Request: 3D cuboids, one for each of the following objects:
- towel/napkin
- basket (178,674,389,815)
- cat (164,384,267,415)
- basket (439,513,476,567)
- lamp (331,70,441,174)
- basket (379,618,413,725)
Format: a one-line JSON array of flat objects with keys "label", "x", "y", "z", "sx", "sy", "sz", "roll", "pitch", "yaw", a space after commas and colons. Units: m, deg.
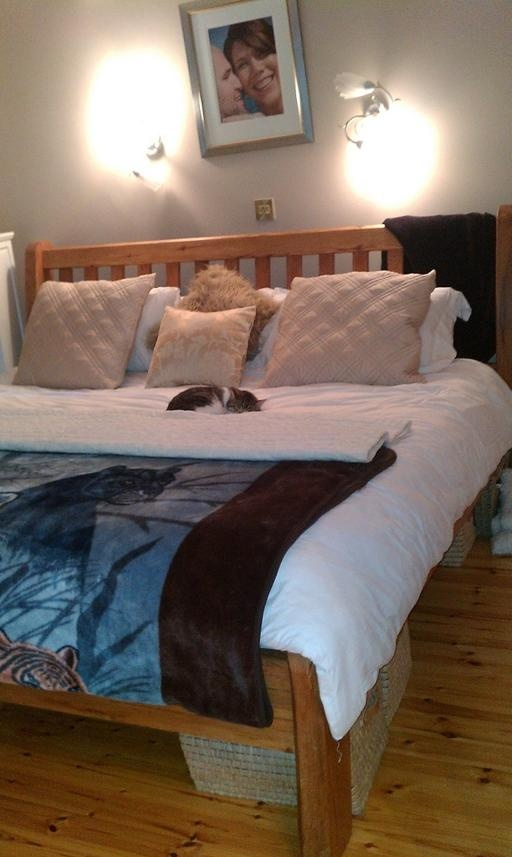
[{"label": "towel/napkin", "x": 0.757, "y": -0.519, "z": 2.417, "sx": 0.449, "sy": 0.527, "sz": 0.142, "roll": -3, "pitch": 14, "yaw": 10}, {"label": "basket", "x": 0.060, "y": 0.485, "z": 1.060, "sx": 0.286, "sy": 0.165, "sz": 0.240, "roll": -3, "pitch": 8, "yaw": 24}, {"label": "cat", "x": -0.106, "y": -0.077, "z": 1.774, "sx": 0.184, "sy": 0.069, "sz": 0.107, "roll": 2, "pitch": 9, "yaw": -25}, {"label": "basket", "x": 0.574, "y": 0.299, "z": 1.814, "sx": 0.158, "sy": 0.072, "sz": 0.209, "roll": 2, "pitch": 14, "yaw": 15}, {"label": "lamp", "x": 0.521, "y": -1.186, "z": 2.562, "sx": 0.356, "sy": 0.363, "sz": 0.142, "roll": 29, "pitch": 59, "yaw": 29}, {"label": "basket", "x": 0.260, "y": 0.455, "z": 1.187, "sx": 0.039, "sy": 0.156, "sz": 0.162, "roll": 10, "pitch": 50, "yaw": 13}]
